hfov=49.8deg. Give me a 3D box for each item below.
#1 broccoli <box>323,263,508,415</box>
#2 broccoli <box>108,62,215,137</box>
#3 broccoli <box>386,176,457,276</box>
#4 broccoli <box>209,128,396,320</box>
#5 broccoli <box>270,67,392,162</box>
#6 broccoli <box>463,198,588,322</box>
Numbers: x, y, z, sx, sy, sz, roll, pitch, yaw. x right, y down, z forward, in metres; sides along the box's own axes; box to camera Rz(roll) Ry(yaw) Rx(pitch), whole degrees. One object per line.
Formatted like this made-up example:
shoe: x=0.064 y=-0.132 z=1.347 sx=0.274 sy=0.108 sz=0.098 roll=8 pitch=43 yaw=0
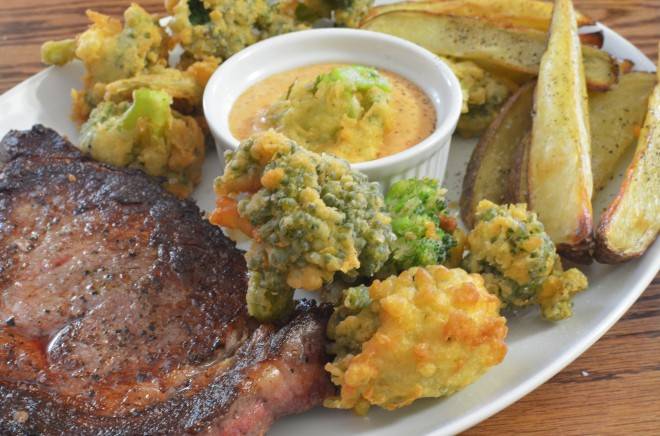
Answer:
broccoli: x=0.319 y=0.442 z=2.720 sx=0.723 sy=0.281 sz=0.583 roll=-30 pitch=44 yaw=-22
broccoli: x=-0.792 y=-0.576 z=3.413 sx=0.262 sy=0.260 sz=0.399 roll=14 pitch=26 yaw=42
broccoli: x=0.363 y=0.026 z=2.864 sx=0.173 sy=0.387 sz=0.301 roll=5 pitch=14 yaw=21
broccoli: x=-0.113 y=0.014 z=2.730 sx=0.671 sy=0.551 sz=0.535 roll=-14 pitch=57 yaw=-7
broccoli: x=0.006 y=-0.478 z=3.154 sx=0.453 sy=0.165 sz=0.447 roll=-32 pitch=64 yaw=-9
broccoli: x=0.783 y=0.205 z=2.939 sx=0.516 sy=0.382 sz=0.304 roll=44 pitch=71 yaw=-16
